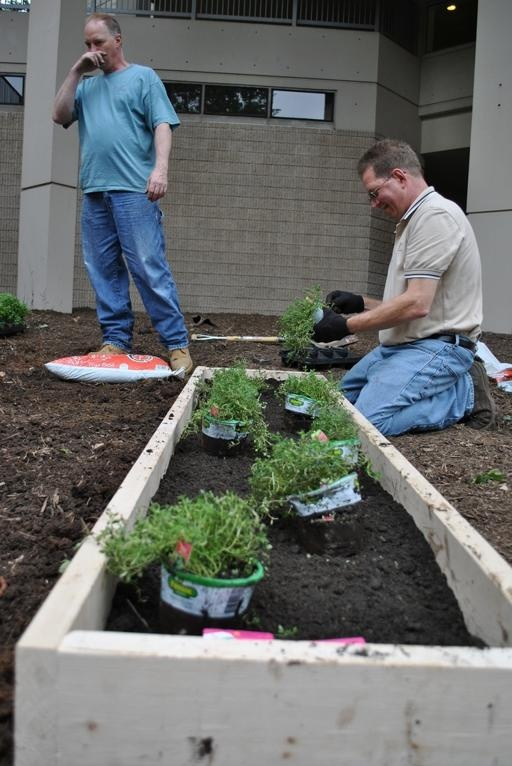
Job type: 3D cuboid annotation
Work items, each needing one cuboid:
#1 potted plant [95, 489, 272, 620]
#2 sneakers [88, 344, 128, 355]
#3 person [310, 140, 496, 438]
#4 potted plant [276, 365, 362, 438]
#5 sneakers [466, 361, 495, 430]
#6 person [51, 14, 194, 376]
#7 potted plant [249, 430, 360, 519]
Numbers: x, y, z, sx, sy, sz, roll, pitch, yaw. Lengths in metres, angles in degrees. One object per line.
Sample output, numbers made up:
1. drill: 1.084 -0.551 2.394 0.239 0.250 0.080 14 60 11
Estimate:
1. potted plant: -0.113 0.307 1.083 0.252 0.232 0.163 -1 13 -37
2. sneakers: -0.785 -0.165 3.365 0.193 0.076 0.063 3 -2 -18
3. person: 0.748 -0.415 2.846 0.707 1.231 0.603 3 11 -22
4. potted plant: 0.288 0.056 2.403 0.294 0.146 0.329 -6 12 -38
5. sneakers: 1.040 0.045 2.937 0.088 0.264 0.143 3 -13 11
6. person: -0.649 -0.935 3.223 0.896 1.720 0.363 11 11 19
7. potted plant: 0.108 0.229 1.577 0.235 0.132 0.225 -12 28 -8
